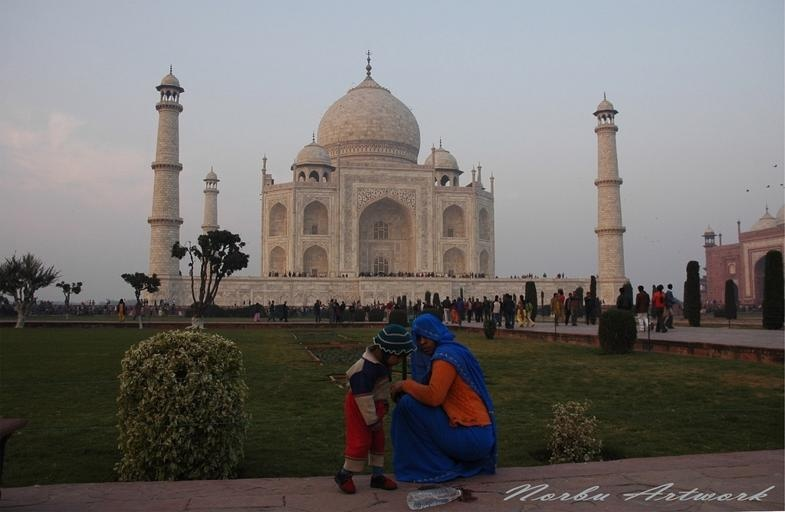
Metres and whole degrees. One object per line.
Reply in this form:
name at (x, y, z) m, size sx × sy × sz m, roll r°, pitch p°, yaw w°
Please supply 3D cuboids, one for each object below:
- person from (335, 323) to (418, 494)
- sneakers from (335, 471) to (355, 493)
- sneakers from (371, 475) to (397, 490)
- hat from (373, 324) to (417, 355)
person at (-0.147, 1.258, 7.202) m, size 0.669 × 1.369 × 0.301 m, roll 0°, pitch -4°, yaw -4°
sneakers at (-0.385, 1.852, 7.053) m, size 0.171 × 0.171 × 0.131 m, roll 0°, pitch -4°, yaw -4°
sneakers at (-0.079, 1.895, 7.162) m, size 0.225 × 0.086 × 0.092 m, roll -3°, pitch -3°, yaw 13°
hat at (0.026, 0.692, 7.203) m, size 0.305 × 0.132 × 0.290 m, roll 13°, pitch 17°, yaw 24°
